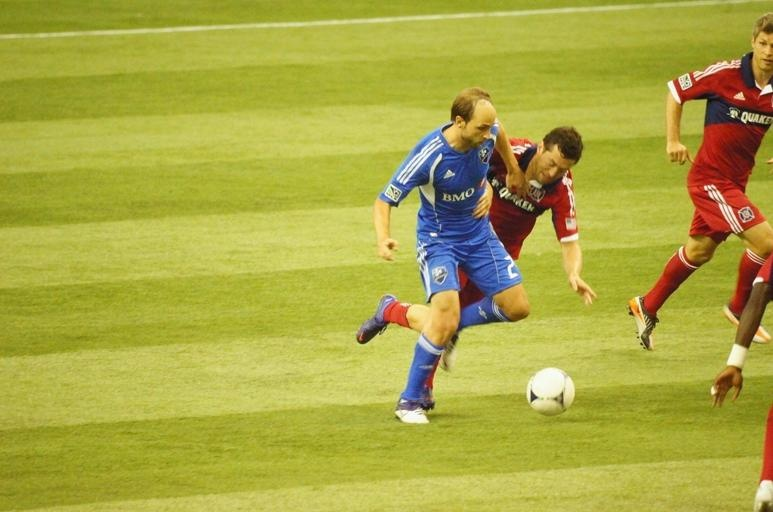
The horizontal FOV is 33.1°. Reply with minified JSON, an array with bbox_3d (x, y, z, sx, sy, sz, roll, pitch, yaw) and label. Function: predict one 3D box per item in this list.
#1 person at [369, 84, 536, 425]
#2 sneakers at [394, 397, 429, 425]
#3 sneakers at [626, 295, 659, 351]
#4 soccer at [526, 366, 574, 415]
[{"bbox_3d":[0.472,-0.024,9.328,1.202,2.362,0.511,-7,15,-26],"label":"person"},{"bbox_3d":[0.178,1.118,9.238,0.294,0.108,0.128,2,6,26],"label":"sneakers"},{"bbox_3d":[1.977,0.510,9.995,0.270,0.433,0.159,-22,-2,13],"label":"sneakers"},{"bbox_3d":[1.136,0.982,9.324,0.397,0.331,0.391,1,1,28],"label":"soccer"}]
